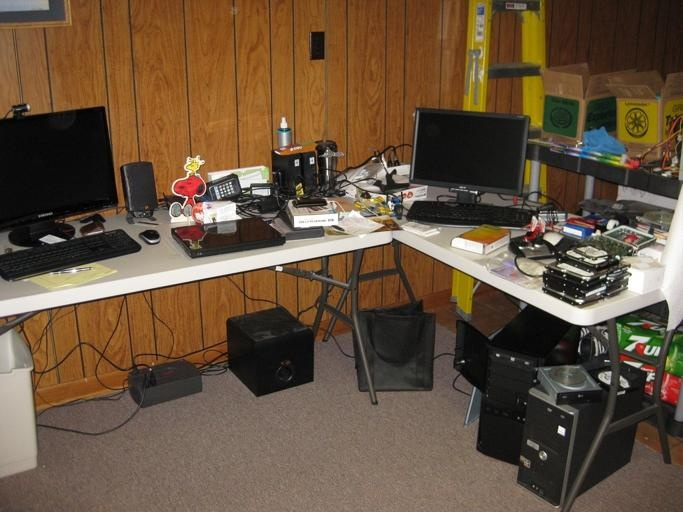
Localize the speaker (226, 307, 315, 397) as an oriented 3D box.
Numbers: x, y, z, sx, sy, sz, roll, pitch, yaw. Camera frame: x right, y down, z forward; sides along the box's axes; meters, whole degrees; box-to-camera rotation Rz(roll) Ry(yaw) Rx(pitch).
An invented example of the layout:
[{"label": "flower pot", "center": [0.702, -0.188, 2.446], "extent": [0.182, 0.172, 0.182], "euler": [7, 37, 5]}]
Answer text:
[{"label": "speaker", "center": [-0.416, 0.531, 3.170], "extent": [0.459, 0.330, 0.450], "euler": [16, 21, 37]}]

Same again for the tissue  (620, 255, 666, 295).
[{"label": "tissue ", "center": [1.216, 0.088, 2.266], "extent": [0.135, 0.105, 0.140], "euler": [-9, 26, -11]}]

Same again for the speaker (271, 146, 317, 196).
[{"label": "speaker", "center": [-0.256, -0.454, 2.998], "extent": [0.185, 0.244, 0.126], "euler": [-11, 32, -22]}]

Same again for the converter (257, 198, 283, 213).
[{"label": "converter", "center": [-0.375, -0.266, 2.916], "extent": [0.091, 0.023, 0.091], "euler": [9, 30, 18]}]

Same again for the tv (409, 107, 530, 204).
[{"label": "tv", "center": [0.682, -0.529, 2.999], "extent": [0.488, 0.365, 0.051], "euler": [9, 12, 16]}]

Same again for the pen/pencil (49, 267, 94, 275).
[{"label": "pen/pencil", "center": [-1.125, 0.062, 2.300], "extent": [0.129, 0.020, 0.017], "euler": [-5, -8, -33]}]

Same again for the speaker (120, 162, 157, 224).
[{"label": "speaker", "center": [-1.007, -0.310, 2.758], "extent": [0.127, 0.347, 0.184], "euler": [27, 35, 37]}]

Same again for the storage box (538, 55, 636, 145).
[{"label": "storage box", "center": [1.350, -0.862, 3.241], "extent": [0.403, 0.394, 0.408], "euler": [1, 20, 1]}]

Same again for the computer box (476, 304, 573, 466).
[{"label": "computer box", "center": [0.900, 0.621, 2.669], "extent": [0.300, 0.614, 0.432], "euler": [16, 24, 38]}]
